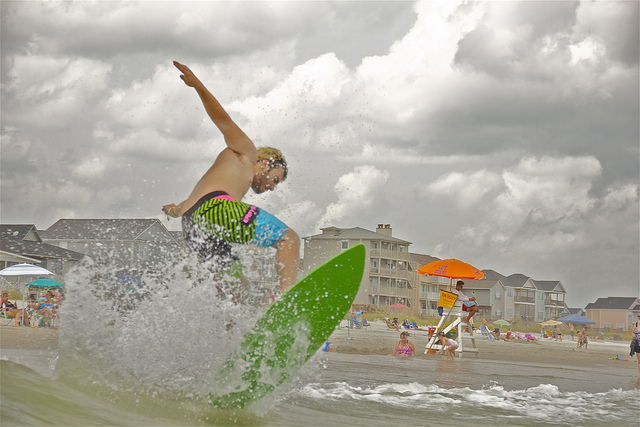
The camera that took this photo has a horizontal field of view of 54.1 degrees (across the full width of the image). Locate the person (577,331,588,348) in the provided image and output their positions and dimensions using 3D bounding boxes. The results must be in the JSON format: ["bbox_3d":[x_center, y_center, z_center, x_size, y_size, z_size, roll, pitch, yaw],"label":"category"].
[{"bbox_3d":[15.551,7.454,37.203,0.325,1.035,1.587,5,4,31],"label":"person"}]

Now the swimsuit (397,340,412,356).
[{"bbox_3d":[3.215,5.210,24.019,0.417,0.592,0.316,4,-14,13],"label":"swimsuit"}]

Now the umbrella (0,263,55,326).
[{"bbox_3d":[-13.454,3.600,28.208,2.370,2.753,2.480,1,-8,-14],"label":"umbrella"}]

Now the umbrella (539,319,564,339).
[{"bbox_3d":[19.512,9.479,52.301,1.637,1.576,1.676,-2,3,-22],"label":"umbrella"}]

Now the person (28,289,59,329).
[{"bbox_3d":[-12.100,4.278,27.438,1.057,1.940,1.287,-42,-37,26],"label":"person"}]

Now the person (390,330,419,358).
[{"bbox_3d":[3.240,5.075,23.923,0.789,0.948,1.272,4,4,16],"label":"person"}]

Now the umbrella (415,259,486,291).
[{"bbox_3d":[5.576,2.382,26.471,1.622,1.126,1.715,2,-1,-6],"label":"umbrella"}]

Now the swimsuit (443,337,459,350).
[{"bbox_3d":[5.010,4.978,23.721,0.491,0.302,0.356,3,4,1],"label":"swimsuit"}]

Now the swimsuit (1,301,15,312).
[{"bbox_3d":[-13.909,4.195,27.900,0.460,0.220,0.369,6,-27,29],"label":"swimsuit"}]

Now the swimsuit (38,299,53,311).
[{"bbox_3d":[-11.986,4.075,27.154,0.816,0.318,0.435,7,5,39],"label":"swimsuit"}]

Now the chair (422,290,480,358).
[{"bbox_3d":[5.276,4.239,24.467,2.123,2.154,2.211,7,-4,10],"label":"chair"}]

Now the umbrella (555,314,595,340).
[{"bbox_3d":[18.648,7.914,45.668,2.183,1.591,2.227,5,1,31],"label":"umbrella"}]
